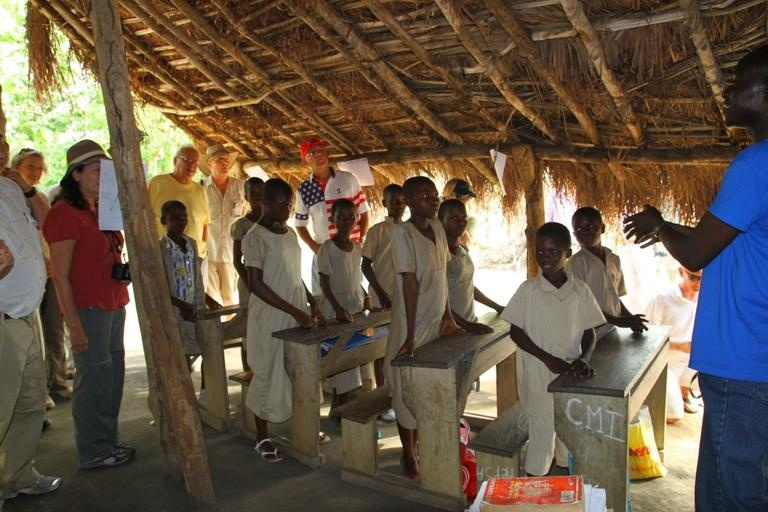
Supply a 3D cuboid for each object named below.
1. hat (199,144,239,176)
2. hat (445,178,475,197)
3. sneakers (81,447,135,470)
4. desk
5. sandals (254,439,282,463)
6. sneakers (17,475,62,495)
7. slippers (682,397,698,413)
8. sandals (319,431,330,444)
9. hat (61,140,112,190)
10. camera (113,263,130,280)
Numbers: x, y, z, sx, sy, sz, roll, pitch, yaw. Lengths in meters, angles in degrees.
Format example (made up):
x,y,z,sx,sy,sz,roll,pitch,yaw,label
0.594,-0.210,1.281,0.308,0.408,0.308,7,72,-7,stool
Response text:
x,y,z,sx,sy,sz,roll,pitch,yaw,label
-2.365,-1.395,7.982,0.573,0.203,0.644,3,-36,-24,hat
0.882,-0.778,6.527,0.314,0.156,0.221,-6,8,-7,hat
-2.564,1.886,5.278,0.450,0.189,0.152,-4,6,-26,sneakers
0.701,1.266,5.274,3.364,1.275,1.877,5,14,23,desk
-1.086,1.838,5.388,0.148,0.109,0.283,-2,4,-37,sandals
-2.997,1.967,4.924,0.302,0.115,0.140,-5,15,-24,sneakers
3.425,1.650,6.321,0.118,0.089,0.221,-3,-2,-2,slippers
-0.606,1.810,5.736,0.109,0.068,0.194,1,-5,-3,sandals
-2.640,-0.821,5.057,0.442,0.235,0.333,-24,7,9,hat
-2.347,0.137,5.053,0.160,0.157,0.171,-1,-3,37,camera
